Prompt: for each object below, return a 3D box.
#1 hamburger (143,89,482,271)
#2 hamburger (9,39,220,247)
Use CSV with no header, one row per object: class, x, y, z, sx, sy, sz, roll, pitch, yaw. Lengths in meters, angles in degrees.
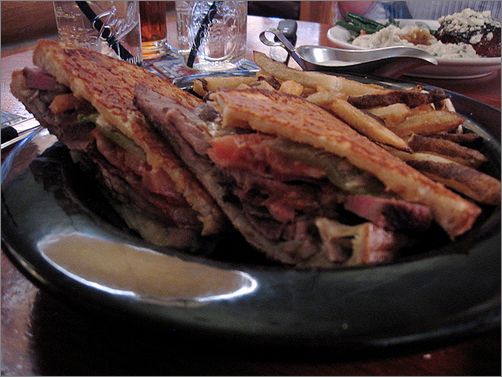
hamburger,0.114,0.015,1.050,0.565,0.223,0.586,-26,59,-20
hamburger,-0.344,-0.130,1.205,0.661,0.209,0.514,40,22,10
